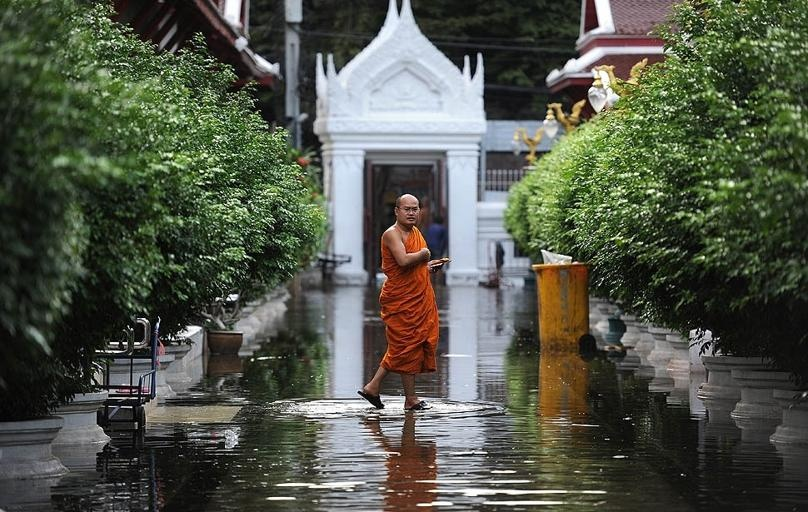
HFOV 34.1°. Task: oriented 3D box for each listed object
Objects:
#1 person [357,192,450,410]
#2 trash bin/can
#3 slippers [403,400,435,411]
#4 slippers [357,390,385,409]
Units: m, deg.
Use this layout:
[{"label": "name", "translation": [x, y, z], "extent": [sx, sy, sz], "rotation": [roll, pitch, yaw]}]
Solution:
[{"label": "person", "translation": [0.024, 0.488, 13.997], "extent": [0.809, 2.294, 0.450], "rotation": [0, -2, 0]}, {"label": "trash bin/can", "translation": [2.310, 0.744, 19.173], "extent": [0.795, 1.281, 0.760], "rotation": [0, -2, 6]}, {"label": "slippers", "translation": [0.167, 1.612, 14.115], "extent": [0.217, 0.080, 0.116], "rotation": [0, -1, -8]}, {"label": "slippers", "translation": [-0.361, 1.571, 14.294], "extent": [0.218, 0.084, 0.072], "rotation": [44, -3, -19]}]
